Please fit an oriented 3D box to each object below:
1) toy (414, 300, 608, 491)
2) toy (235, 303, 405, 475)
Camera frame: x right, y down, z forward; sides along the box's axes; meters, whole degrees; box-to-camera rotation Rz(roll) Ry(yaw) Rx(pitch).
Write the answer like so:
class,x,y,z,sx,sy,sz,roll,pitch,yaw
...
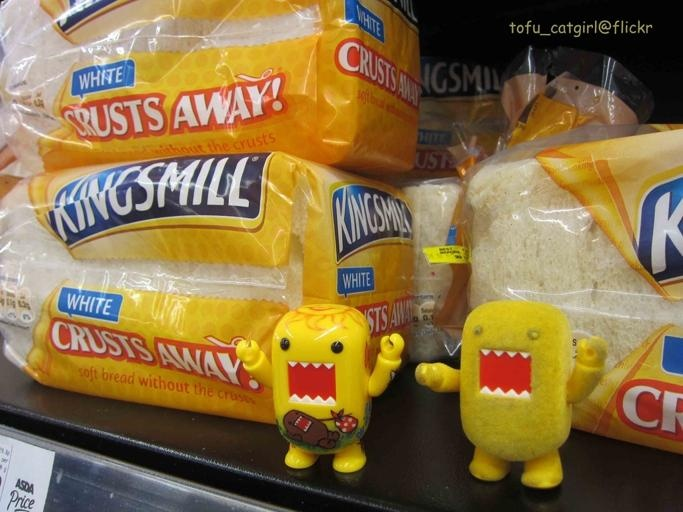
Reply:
class,x,y,z,sx,sy,sz,roll,pitch,yaw
toy,0.228,0.179,0.816,0.226,0.253,0.109,1,6,24
toy,-0.027,0.191,0.857,0.213,0.233,0.123,-1,6,5
